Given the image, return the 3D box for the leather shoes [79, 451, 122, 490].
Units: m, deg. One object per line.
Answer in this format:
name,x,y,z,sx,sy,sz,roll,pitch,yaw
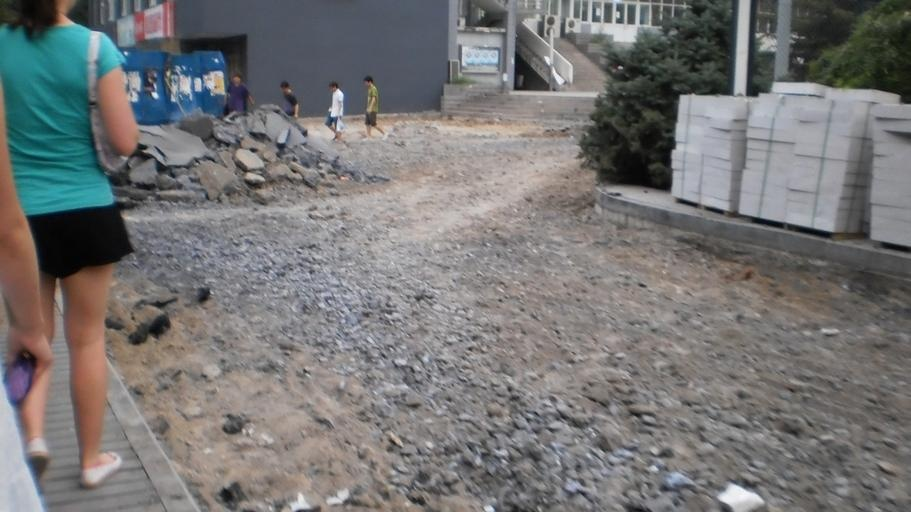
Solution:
leather shoes,-2.501,1.501,4.021,0.132,0.111,0.270,1,19,13
